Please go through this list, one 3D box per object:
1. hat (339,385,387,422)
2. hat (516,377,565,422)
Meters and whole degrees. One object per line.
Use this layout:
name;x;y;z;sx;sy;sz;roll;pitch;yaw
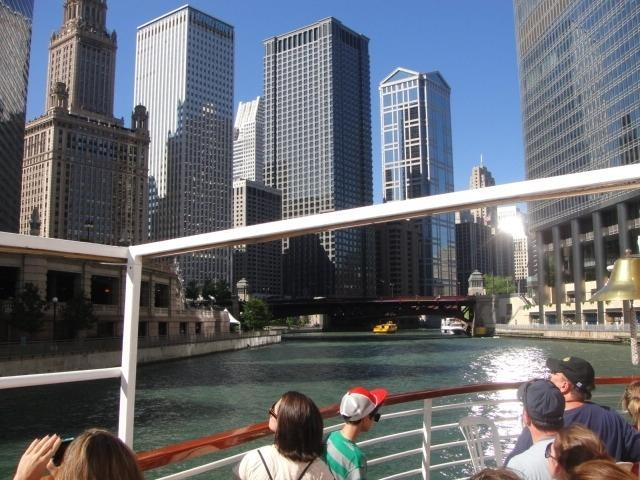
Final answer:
hat;0.371;1.381;4.689;0.408;0.197;0.243;-29;28;-35
hat;1.909;1.348;4.778;0.250;0.211;0.358;-4;23;2
